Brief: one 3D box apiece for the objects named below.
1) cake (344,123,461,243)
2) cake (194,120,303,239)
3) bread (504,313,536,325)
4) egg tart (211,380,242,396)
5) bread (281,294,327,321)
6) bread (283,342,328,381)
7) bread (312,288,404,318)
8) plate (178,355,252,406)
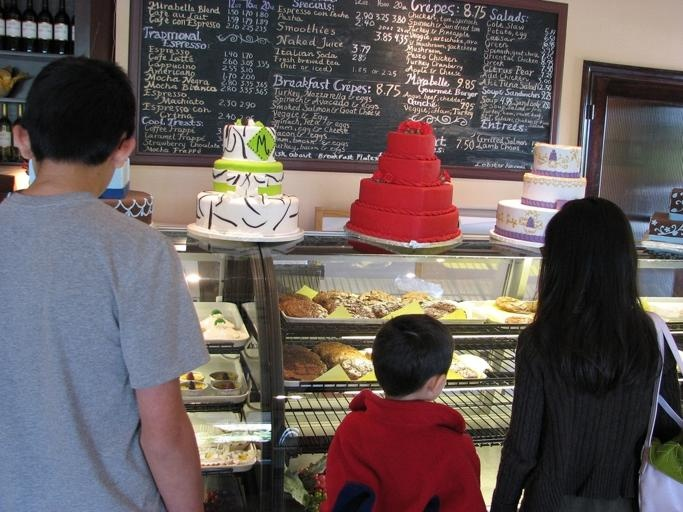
[{"bbox_3d":[0.138,-0.287,2.161,0.531,0.402,0.476,4,10,5],"label":"cake"},{"bbox_3d":[-0.303,-0.279,2.086,0.532,0.373,0.448,2,8,-1],"label":"cake"},{"bbox_3d":[0.705,0.252,2.201,0.117,0.030,0.134,-2,10,2],"label":"bread"},{"bbox_3d":[-0.406,0.456,1.918,0.075,0.020,0.049,-6,21,-17],"label":"egg tart"},{"bbox_3d":[-0.137,0.181,1.952,0.097,0.027,0.132,36,16,37],"label":"bread"},{"bbox_3d":[-0.135,0.363,1.855,0.148,0.029,0.118,11,29,-22],"label":"bread"},{"bbox_3d":[0.063,0.177,2.091,0.263,0.045,0.136,3,7,-6],"label":"bread"},{"bbox_3d":[-0.435,0.446,1.931,0.351,0.061,0.299,1,17,-5],"label":"plate"}]
